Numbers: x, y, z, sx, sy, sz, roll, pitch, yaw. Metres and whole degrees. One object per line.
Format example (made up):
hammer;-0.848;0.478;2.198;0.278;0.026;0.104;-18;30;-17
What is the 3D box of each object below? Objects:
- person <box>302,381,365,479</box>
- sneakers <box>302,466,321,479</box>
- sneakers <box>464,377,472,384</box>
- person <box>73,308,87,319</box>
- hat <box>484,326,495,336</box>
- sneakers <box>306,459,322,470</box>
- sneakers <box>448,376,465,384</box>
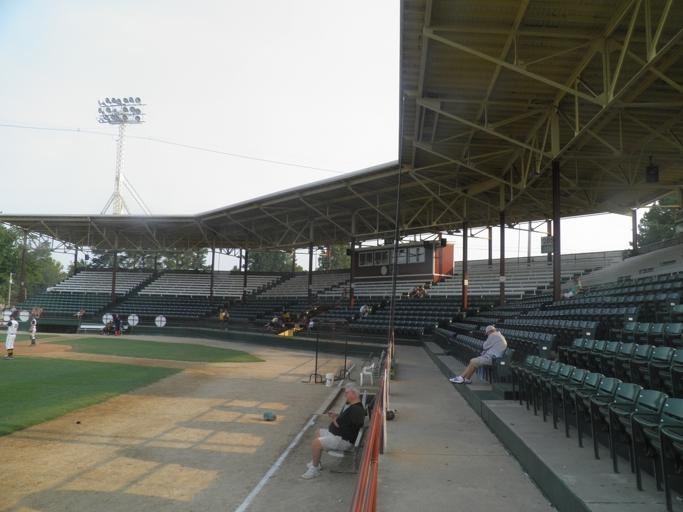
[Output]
person;-0.127;3.381;11.295;1.112;1.738;0.443;-2;-6;11
sneakers;-0.603;4.166;11.199;0.407;0.167;0.160;4;-11;-25
sneakers;3.121;3.137;14.606;0.138;0.156;0.394;-3;-11;16
person;-21.357;4.814;47.769;1.222;0.691;0.751;-7;-5;14
hat;3.628;1.842;14.443;0.279;0.192;0.339;6;-17;-27
sneakers;-0.478;4.055;11.301;0.398;0.155;0.144;6;-15;-3
sneakers;2.915;3.136;14.685;0.498;0.189;0.174;2;-7;4
